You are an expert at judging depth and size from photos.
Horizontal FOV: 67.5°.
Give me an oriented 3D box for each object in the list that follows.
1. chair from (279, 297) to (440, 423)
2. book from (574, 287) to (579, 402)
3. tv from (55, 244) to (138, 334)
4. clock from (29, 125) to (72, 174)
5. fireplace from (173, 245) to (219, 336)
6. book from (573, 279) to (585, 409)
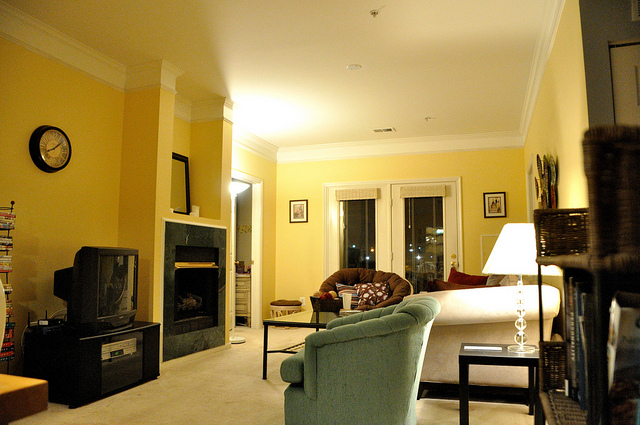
[{"bbox_3d":[0.341,1.030,3.701,0.959,0.840,0.994,-3,-14,17],"label":"chair"},{"bbox_3d":[1.185,0.592,2.225,0.015,0.481,0.146,-1,-2,27],"label":"book"},{"bbox_3d":[-2.224,0.773,4.838,0.608,0.815,0.826,-2,-6,16],"label":"tv"},{"bbox_3d":[-2.750,-0.641,4.956,0.088,0.469,0.441,-1,-2,23],"label":"clock"},{"bbox_3d":[-1.638,0.941,6.067,0.773,1.087,0.502,4,-6,-45],"label":"fireplace"},{"bbox_3d":[1.181,0.607,2.203,0.038,0.580,0.178,-1,-2,27],"label":"book"}]
